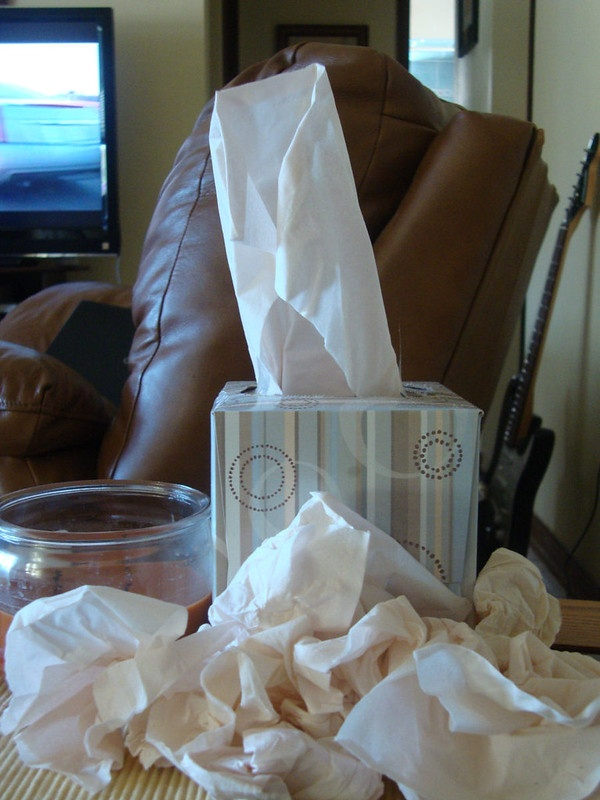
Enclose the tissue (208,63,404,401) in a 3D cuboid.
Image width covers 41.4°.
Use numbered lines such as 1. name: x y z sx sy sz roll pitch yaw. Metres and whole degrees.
1. tissue: 0.003 -0.093 0.481 0.131 0.206 0.093 4 21 5
